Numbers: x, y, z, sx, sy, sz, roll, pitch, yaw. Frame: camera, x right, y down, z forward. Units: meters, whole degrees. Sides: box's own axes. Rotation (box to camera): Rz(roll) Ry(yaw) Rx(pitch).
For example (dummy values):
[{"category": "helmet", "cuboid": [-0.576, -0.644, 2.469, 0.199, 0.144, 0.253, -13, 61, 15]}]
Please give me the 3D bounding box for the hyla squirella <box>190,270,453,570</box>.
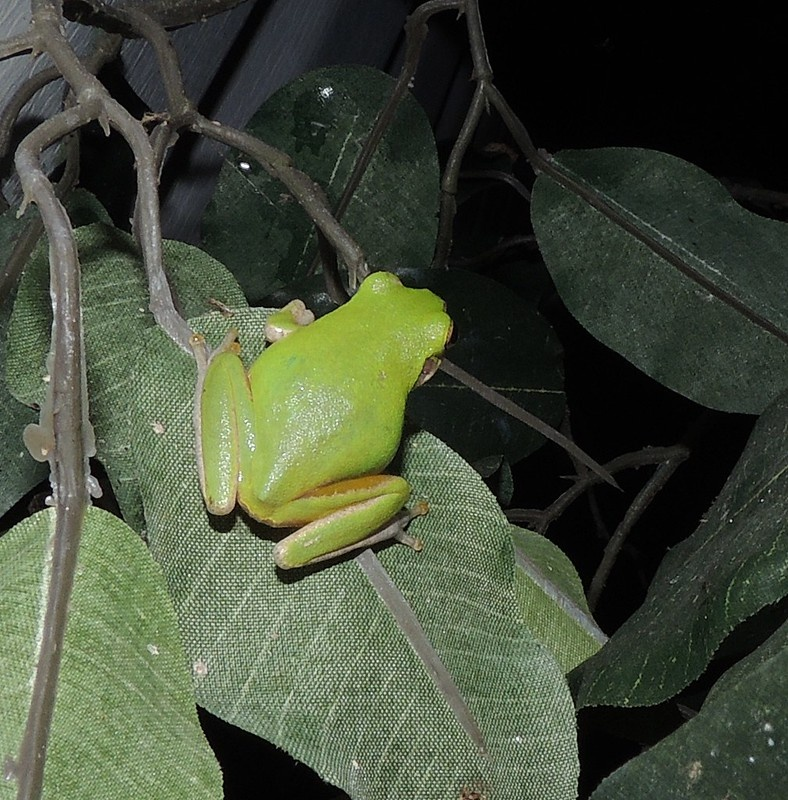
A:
[{"category": "hyla squirella", "cuboid": [-0.068, 0.017, 1.152, 0.340, 0.158, 0.311, -13, 60, -15]}]
